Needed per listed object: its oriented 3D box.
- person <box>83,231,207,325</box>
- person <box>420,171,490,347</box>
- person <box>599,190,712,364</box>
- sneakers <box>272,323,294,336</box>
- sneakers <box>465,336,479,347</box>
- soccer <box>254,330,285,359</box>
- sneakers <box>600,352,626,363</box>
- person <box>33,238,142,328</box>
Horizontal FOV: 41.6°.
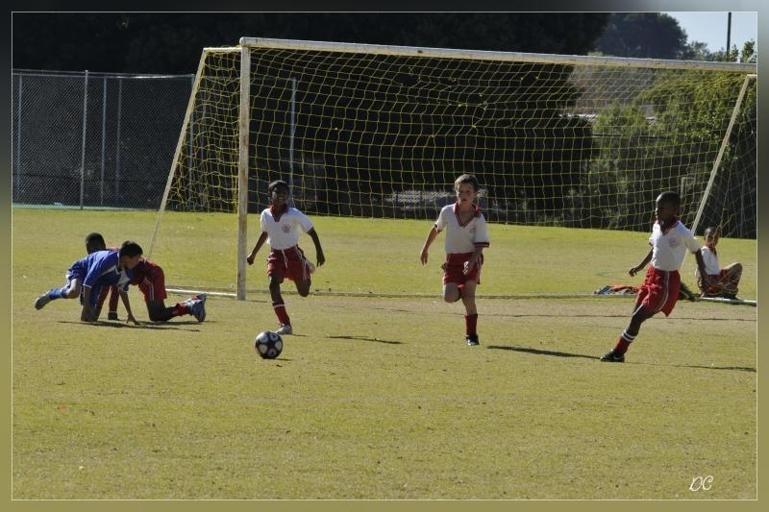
[{"bbox_3d":[-3.223,0.362,13.843,1.548,0.980,0.545,12,-11,-15],"label":"person"},{"bbox_3d":[0.968,0.029,13.005,0.615,2.122,0.822,1,5,-38],"label":"person"},{"bbox_3d":[3.403,0.249,12.543,1.071,2.085,1.206,6,4,22],"label":"person"},{"bbox_3d":[-1.315,0.945,13.070,0.222,0.144,0.113,4,-9,0],"label":"sneakers"},{"bbox_3d":[1.103,1.063,12.803,0.166,0.114,0.157,4,4,0],"label":"sneakers"},{"bbox_3d":[-1.374,1.053,12.007,0.349,0.309,0.314,11,12,-26],"label":"soccer"},{"bbox_3d":[2.771,1.226,12.298,0.342,0.138,0.114,4,-2,6],"label":"sneakers"},{"bbox_3d":[-3.938,0.374,13.397,1.536,1.009,0.818,-2,-12,2],"label":"person"}]
